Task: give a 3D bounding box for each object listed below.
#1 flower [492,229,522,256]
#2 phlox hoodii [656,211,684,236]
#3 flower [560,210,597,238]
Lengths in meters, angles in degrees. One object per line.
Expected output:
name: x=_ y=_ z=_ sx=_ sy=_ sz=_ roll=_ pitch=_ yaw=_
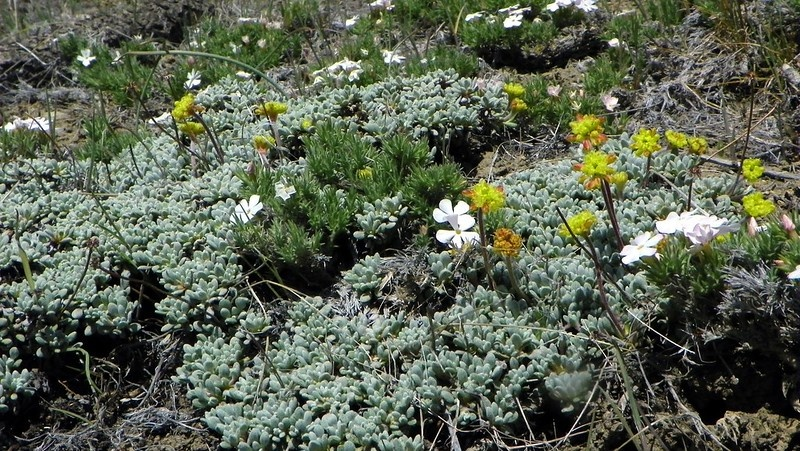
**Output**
flower: x=0.850 y=0.134 z=6.990 sx=0.216 sy=0.229 sz=0.218 roll=3 pitch=26 yaw=-16
phlox hoodii: x=2.172 y=0.009 z=6.892 sx=0.192 sy=0.172 sz=0.203 roll=-6 pitch=28 yaw=11
flower: x=1.457 y=-0.006 z=6.947 sx=0.242 sy=0.194 sz=0.234 roll=-21 pitch=13 yaw=36
